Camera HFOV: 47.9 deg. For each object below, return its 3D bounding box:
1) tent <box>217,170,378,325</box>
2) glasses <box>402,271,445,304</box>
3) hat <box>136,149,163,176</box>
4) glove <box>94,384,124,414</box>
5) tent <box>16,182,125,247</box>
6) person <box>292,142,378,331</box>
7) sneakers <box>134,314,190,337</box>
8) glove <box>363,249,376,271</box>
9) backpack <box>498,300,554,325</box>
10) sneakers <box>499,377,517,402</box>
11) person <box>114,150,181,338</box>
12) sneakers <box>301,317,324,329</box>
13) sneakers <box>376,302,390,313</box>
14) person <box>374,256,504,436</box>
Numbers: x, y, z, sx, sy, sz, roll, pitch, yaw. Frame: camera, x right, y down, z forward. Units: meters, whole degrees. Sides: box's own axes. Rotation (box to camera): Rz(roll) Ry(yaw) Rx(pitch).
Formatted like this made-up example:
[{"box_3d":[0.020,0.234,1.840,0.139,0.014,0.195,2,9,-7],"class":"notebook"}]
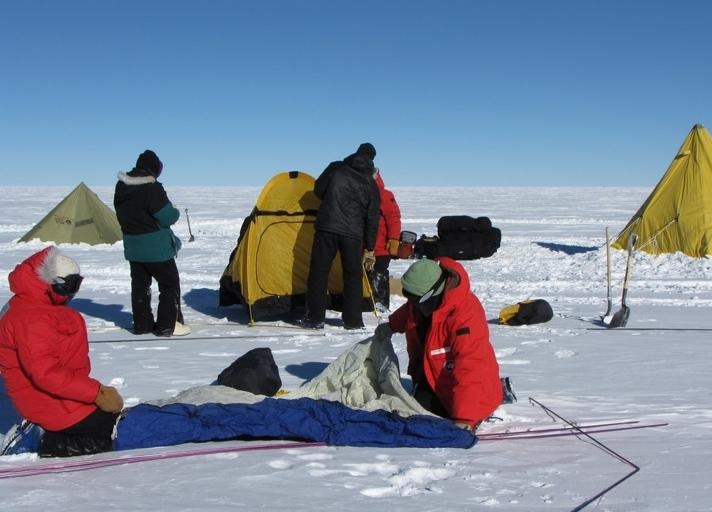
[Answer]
[{"box_3d":[-1.135,-0.115,10.467,2.260,1.464,1.673,0,5,-24],"class":"tent"},{"box_3d":[0.596,0.230,6.623,0.260,0.146,0.305,-8,16,7],"class":"glasses"},{"box_3d":[-2.259,-1.006,8.755,0.271,0.293,0.209,-6,15,-24],"class":"hat"},{"box_3d":[-1.872,1.075,6.028,0.309,0.154,0.154,18,-23,-5],"class":"glove"},{"box_3d":[-6.580,-1.033,18.586,2.026,1.461,1.107,-5,15,-18],"class":"tent"},{"box_3d":[-0.182,-0.215,9.337,0.982,2.127,0.631,-4,15,-15],"class":"person"},{"box_3d":[-2.192,0.782,9.035,0.722,0.254,0.221,0,1,-10],"class":"sneakers"},{"box_3d":[0.188,0.034,9.532,0.099,0.196,0.215,8,7,18],"class":"glove"},{"box_3d":[2.015,0.646,9.513,0.501,0.168,0.319,-4,37,9],"class":"backpack"},{"box_3d":[1.327,1.168,6.984,0.078,0.182,0.185,6,-6,-20],"class":"sneakers"},{"box_3d":[-2.248,-0.120,8.771,0.698,2.072,0.577,-4,15,-15],"class":"person"},{"box_3d":[-0.505,0.780,9.432,0.288,0.103,0.102,6,5,25],"class":"sneakers"},{"box_3d":[0.349,0.668,10.438,0.146,0.045,0.136,2,26,-8],"class":"sneakers"},{"box_3d":[0.687,0.810,6.931,0.652,0.897,1.125,-11,32,-16],"class":"person"}]
